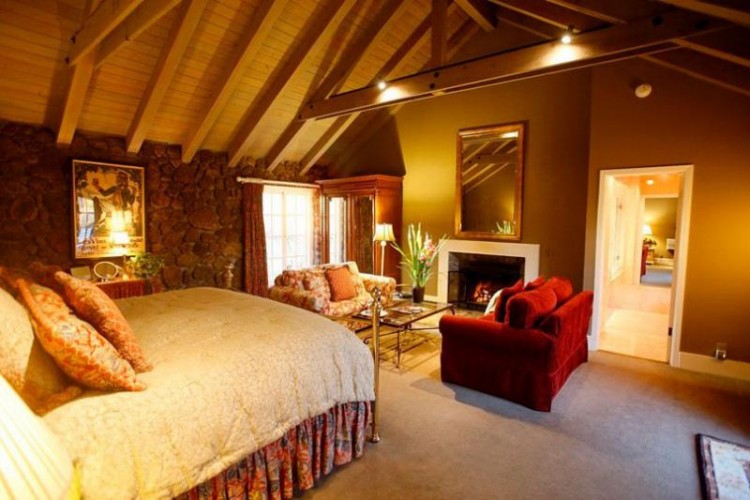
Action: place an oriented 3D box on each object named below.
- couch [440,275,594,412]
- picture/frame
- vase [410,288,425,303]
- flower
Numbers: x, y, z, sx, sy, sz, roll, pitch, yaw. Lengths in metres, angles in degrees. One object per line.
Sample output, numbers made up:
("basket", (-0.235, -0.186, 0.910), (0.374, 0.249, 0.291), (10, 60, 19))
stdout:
("couch", (1.835, 0.966, 6.143), (1.235, 1.179, 2.042), (5, 8, 33))
("picture/frame", (-3.689, -0.557, 6.839), (0.039, 1.302, 0.940), (9, 9, 41))
("vase", (0.570, 0.628, 6.793), (0.193, 0.205, 0.195), (0, -3, -2))
("flower", (0.582, 0.169, 6.778), (0.941, 0.838, 0.779), (2, -1, 28))
